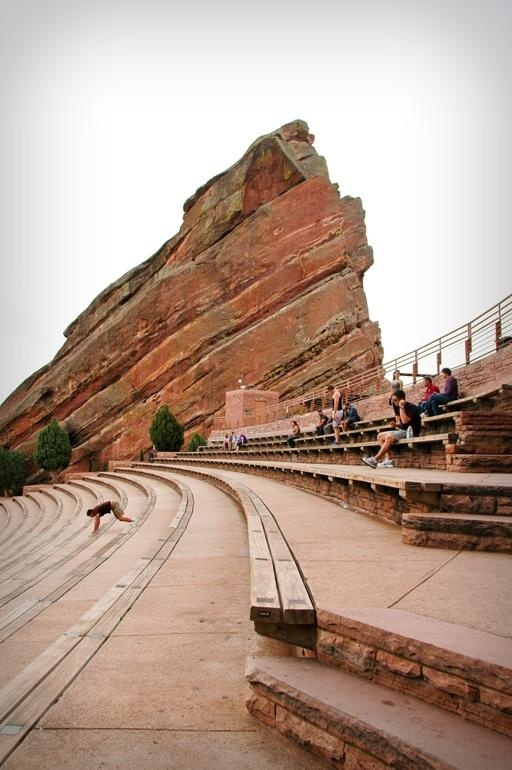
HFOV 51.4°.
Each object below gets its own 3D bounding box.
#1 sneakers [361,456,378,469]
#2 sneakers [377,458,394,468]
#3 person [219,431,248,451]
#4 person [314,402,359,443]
[{"bbox_3d":[1.805,1.245,8.347,0.171,0.125,0.386,-28,-31,3],"label":"sneakers"},{"bbox_3d":[2.066,1.235,8.418,0.162,0.181,0.413,1,-4,-8],"label":"sneakers"},{"bbox_3d":[-1.120,3.035,28.732,1.613,0.647,0.487,0,-26,39],"label":"person"},{"bbox_3d":[2.441,0.990,15.444,1.221,0.868,0.474,-25,39,-12],"label":"person"}]
